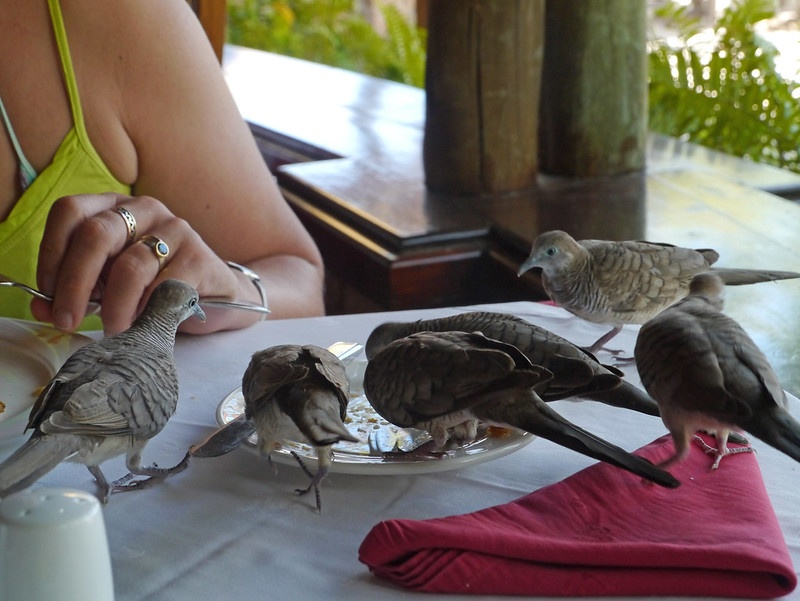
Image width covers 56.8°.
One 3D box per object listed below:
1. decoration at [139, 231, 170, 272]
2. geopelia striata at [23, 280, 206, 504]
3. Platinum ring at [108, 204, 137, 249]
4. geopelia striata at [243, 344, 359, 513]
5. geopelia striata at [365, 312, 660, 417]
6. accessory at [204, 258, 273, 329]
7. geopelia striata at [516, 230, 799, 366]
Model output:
[{"bbox_3d":[-0.313,-0.059,0.940,0.042,0.048,0.017,32,59,15],"label":"decoration"},{"bbox_3d":[-0.202,0.080,0.651,0.083,0.148,0.245,14,10,23],"label":"geopelia striata"},{"bbox_3d":[-0.355,-0.091,0.945,0.016,0.049,0.049,-28,31,-28],"label":"Platinum ring"},{"bbox_3d":[-0.099,0.098,0.661,0.080,0.181,0.140,2,72,-25],"label":"geopelia striata"},{"bbox_3d":[0.071,0.029,0.760,0.359,0.112,0.101,6,13,26],"label":"geopelia striata"},{"bbox_3d":[-0.215,-0.011,1.008,0.103,0.017,0.097,16,25,-17],"label":"accessory"},{"bbox_3d":[0.305,0.000,0.862,0.282,0.123,0.080,-17,29,2],"label":"geopelia striata"}]
